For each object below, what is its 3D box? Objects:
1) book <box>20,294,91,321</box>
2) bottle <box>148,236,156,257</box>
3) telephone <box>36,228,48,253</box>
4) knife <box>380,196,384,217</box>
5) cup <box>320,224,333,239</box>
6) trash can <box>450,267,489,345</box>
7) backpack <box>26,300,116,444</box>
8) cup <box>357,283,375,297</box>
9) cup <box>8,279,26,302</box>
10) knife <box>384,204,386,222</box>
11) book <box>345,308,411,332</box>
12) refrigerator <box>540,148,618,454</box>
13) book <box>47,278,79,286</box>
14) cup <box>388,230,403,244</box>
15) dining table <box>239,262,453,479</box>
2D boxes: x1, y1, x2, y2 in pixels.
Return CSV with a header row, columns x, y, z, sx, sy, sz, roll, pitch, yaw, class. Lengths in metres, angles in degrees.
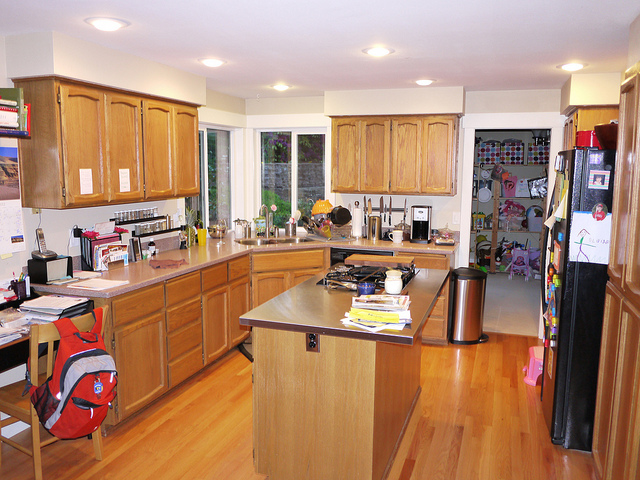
x,y,z,sx,sy,sz,roll,pitch,yaw,class
-1.864,0.467,3.221,0.235,0.077,0.235,4,9,15,book
-1.659,0.078,4.578,0.070,0.138,0.113,-5,13,-22,bottle
-2.198,0.000,3.661,0.057,0.175,0.154,-8,15,-33,telephone
0.771,-0.422,5.795,0.042,0.289,0.013,-2,16,0,knife
0.092,-0.107,5.649,0.065,0.163,0.118,-8,-3,35,cup
1.683,0.746,5.195,0.445,0.787,0.330,1,12,2,trash can
-1.555,0.875,3.048,0.474,0.869,0.474,27,24,22,backpack
0.321,0.347,3.226,0.092,0.058,0.091,1,-1,0,cup
-2.201,0.378,3.388,0.107,0.156,0.057,-8,15,-34,cup
0.829,-0.341,5.862,0.032,0.225,0.009,1,-2,5,knife
0.356,0.475,2.750,0.362,0.063,0.193,1,11,5,book
1.832,0.433,3.330,0.334,2.150,0.687,3,13,14,refrigerator
-1.987,0.321,3.589,0.155,0.021,0.157,6,13,27,book
0.883,-0.038,5.359,0.165,0.114,0.103,-6,11,-25,cup
0.282,0.827,3.395,1.220,1.338,2.118,1,4,18,dining table
